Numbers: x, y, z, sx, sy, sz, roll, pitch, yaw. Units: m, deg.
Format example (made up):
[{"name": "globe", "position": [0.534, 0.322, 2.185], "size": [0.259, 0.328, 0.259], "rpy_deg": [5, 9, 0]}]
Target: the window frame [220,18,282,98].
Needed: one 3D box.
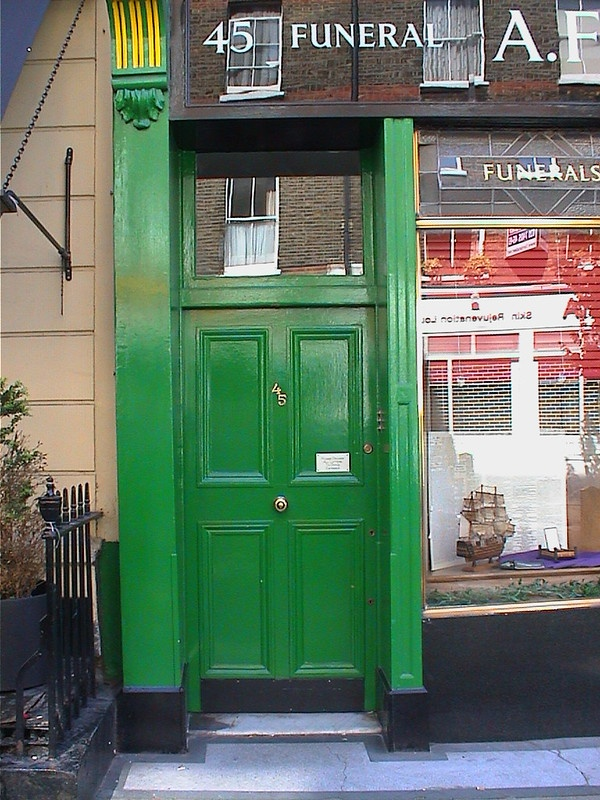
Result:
[{"name": "window frame", "position": [-0.272, -1.873, 5.620], "size": [0.457, 0.535, 0.052], "rpy_deg": [-1, -15, 2]}]
